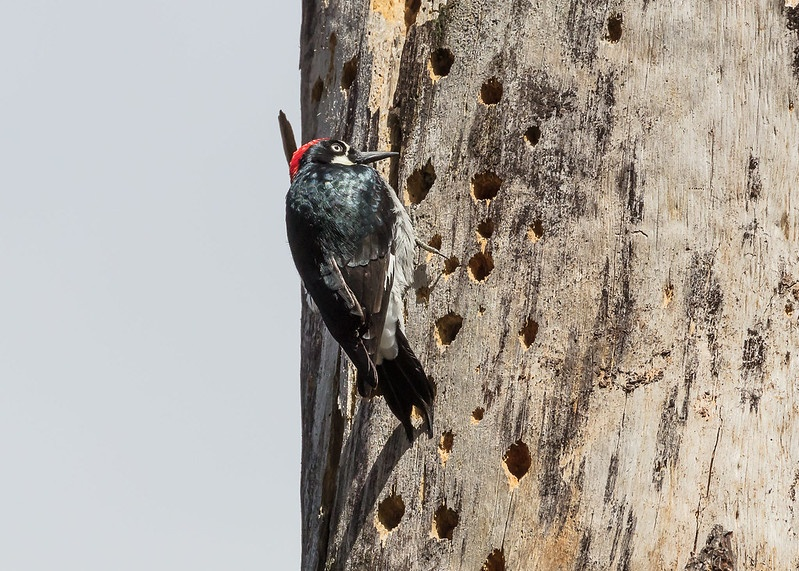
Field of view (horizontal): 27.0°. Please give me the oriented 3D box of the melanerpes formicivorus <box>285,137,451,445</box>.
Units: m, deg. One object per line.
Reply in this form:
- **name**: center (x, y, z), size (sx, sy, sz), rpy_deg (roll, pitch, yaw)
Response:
- **melanerpes formicivorus**: center (-0.201, -0.073, 8.110), size (0.750, 1.289, 1.411), rpy_deg (-5, -67, -5)
